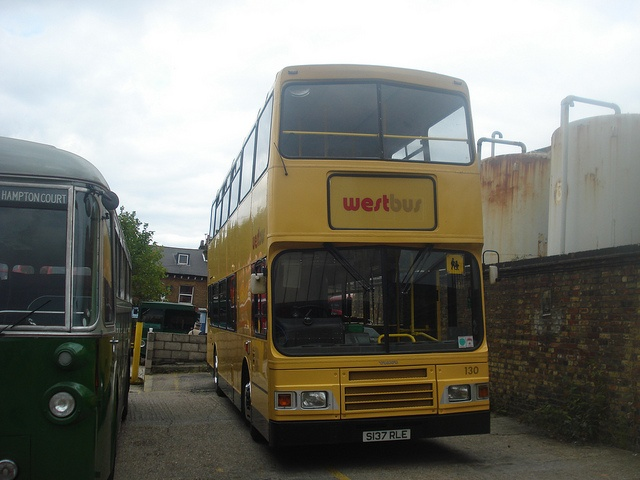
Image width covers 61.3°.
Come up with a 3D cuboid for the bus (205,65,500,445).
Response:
[{"bbox_3d":[0.577,1.408,12.688,3.020,5.650,10.984,1,-13,-5],"label":"bus"}]

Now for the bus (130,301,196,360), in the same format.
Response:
[{"bbox_3d":[-7.739,4.540,27.530,2.560,2.345,1.985,2,-5,-7],"label":"bus"}]
